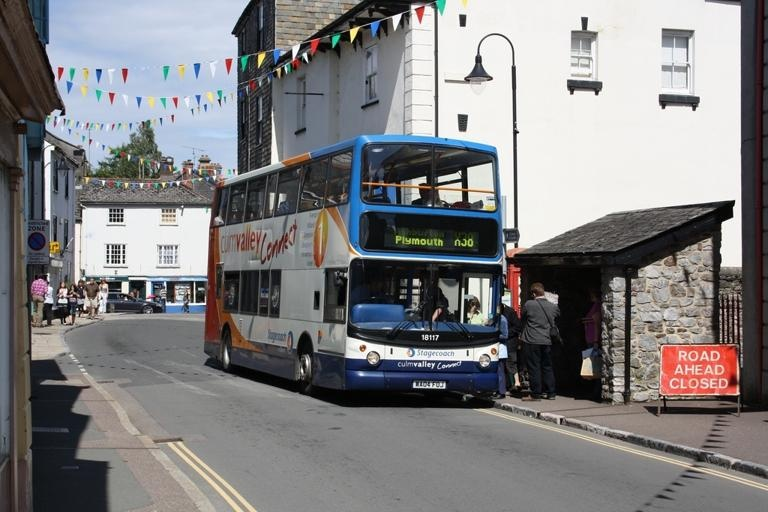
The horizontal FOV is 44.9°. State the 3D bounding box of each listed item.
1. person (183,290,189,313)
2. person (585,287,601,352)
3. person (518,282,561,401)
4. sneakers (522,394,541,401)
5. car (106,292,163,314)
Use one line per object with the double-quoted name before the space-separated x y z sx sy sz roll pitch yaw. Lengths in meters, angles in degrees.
"person" -15.569 3.716 73.245 0.555 1.643 2.921 -1 3 -12
"person" 4.433 1.390 19.680 0.345 1.308 0.983 0 4 12
"person" 3.279 1.824 19.532 0.754 2.441 0.700 0 4 8
"sneakers" 3.101 3.003 19.449 0.357 0.166 0.155 4 5 45
"car" -17.941 3.554 66.575 3.434 1.215 1.630 0 1 -13
